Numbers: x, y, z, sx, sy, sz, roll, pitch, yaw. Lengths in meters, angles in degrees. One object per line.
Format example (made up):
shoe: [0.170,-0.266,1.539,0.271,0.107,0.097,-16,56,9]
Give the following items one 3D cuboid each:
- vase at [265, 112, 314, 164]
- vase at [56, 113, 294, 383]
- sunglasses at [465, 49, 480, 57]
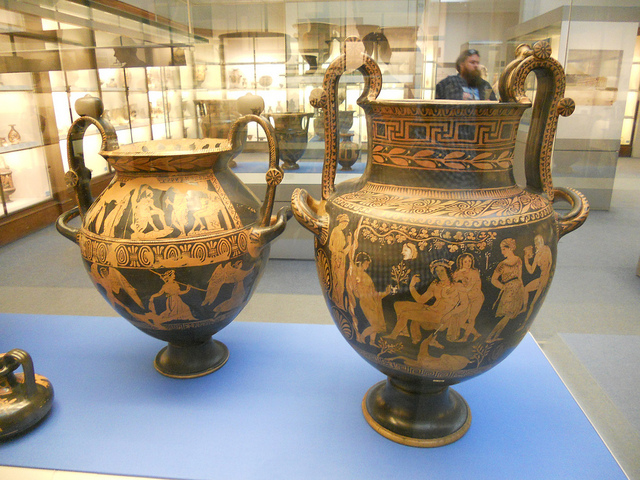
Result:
vase: [-0.204,-0.682,3.840,0.366,0.361,0.290,-2,16,2]
vase: [-0.574,0.023,2.264,0.928,1.054,0.498,-2,21,1]
sunglasses: [0.687,-0.844,2.535,0.049,0.021,0.240,4,21,16]
